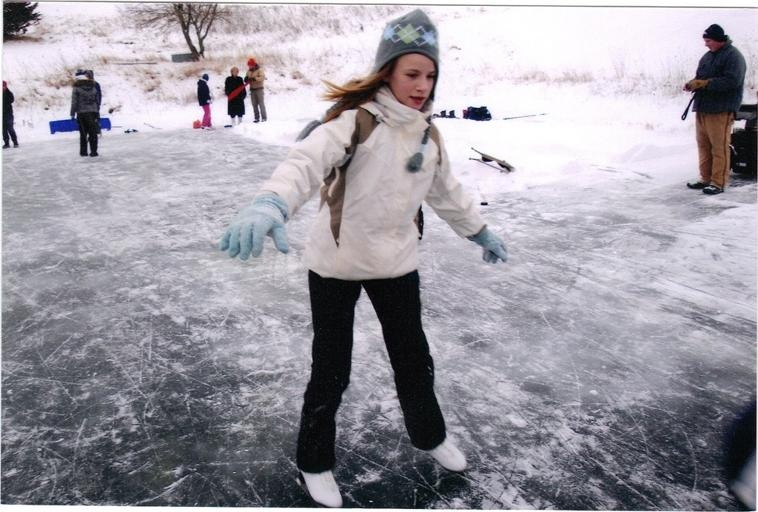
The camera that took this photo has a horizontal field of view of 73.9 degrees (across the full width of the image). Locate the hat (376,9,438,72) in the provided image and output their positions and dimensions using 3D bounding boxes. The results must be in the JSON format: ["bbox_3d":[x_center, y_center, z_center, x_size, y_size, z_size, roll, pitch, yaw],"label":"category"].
[{"bbox_3d":[0.140,-1.295,3.160,0.337,0.311,0.415,0,-1,-32],"label":"hat"}]

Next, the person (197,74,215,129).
[{"bbox_3d":[-4.470,-3.977,12.914,0.295,1.378,1.135,-7,17,-18],"label":"person"}]

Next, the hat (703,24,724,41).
[{"bbox_3d":[4.508,-3.031,6.822,0.225,0.196,0.285,2,34,2],"label":"hat"}]

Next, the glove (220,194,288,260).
[{"bbox_3d":[-0.650,-0.159,2.644,0.349,0.312,0.305,-3,16,-9],"label":"glove"}]

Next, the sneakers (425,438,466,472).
[{"bbox_3d":[0.418,1.321,3.404,0.160,0.109,0.284,-13,9,-38],"label":"sneakers"}]

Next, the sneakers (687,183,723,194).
[{"bbox_3d":[4.401,-0.963,6.878,0.141,0.137,0.372,-13,27,-28],"label":"sneakers"}]

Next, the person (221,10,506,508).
[{"bbox_3d":[-0.064,0.030,3.109,1.658,2.969,0.693,-7,18,-21],"label":"person"}]

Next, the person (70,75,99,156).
[{"bbox_3d":[-5.657,-2.765,9.741,0.487,1.596,1.042,-10,18,-27],"label":"person"}]

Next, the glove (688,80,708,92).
[{"bbox_3d":[4.254,-2.300,6.765,0.199,0.066,0.139,-7,15,38],"label":"glove"}]
